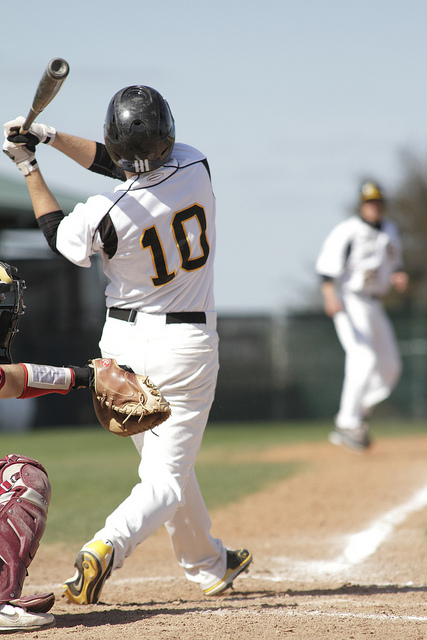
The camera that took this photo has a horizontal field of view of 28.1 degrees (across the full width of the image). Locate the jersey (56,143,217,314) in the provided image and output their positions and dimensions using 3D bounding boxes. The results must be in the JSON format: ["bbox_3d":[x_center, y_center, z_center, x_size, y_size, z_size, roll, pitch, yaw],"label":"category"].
[{"bbox_3d":[-0.223,-0.291,2.704,0.496,0.546,0.200,-5,7,-31],"label":"jersey"}]

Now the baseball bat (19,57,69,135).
[{"bbox_3d":[-0.581,-0.702,2.816,0.088,0.069,0.414,7,-27,-30],"label":"baseball bat"}]

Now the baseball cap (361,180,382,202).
[{"bbox_3d":[0.858,-0.694,4.634,0.111,0.107,0.180,0,6,10],"label":"baseball cap"}]

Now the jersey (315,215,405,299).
[{"bbox_3d":[0.811,-0.355,4.629,0.633,0.444,0.282,3,4,-28],"label":"jersey"}]

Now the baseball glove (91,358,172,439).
[{"bbox_3d":[-0.245,0.221,2.500,0.259,0.182,0.126,14,43,41],"label":"baseball glove"}]

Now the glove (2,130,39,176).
[{"bbox_3d":[-0.633,-0.543,2.790,0.108,0.149,0.132,-3,6,-12],"label":"glove"}]

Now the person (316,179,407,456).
[{"bbox_3d":[0.811,0.016,4.742,0.448,1.524,0.851,-1,6,8],"label":"person"}]
